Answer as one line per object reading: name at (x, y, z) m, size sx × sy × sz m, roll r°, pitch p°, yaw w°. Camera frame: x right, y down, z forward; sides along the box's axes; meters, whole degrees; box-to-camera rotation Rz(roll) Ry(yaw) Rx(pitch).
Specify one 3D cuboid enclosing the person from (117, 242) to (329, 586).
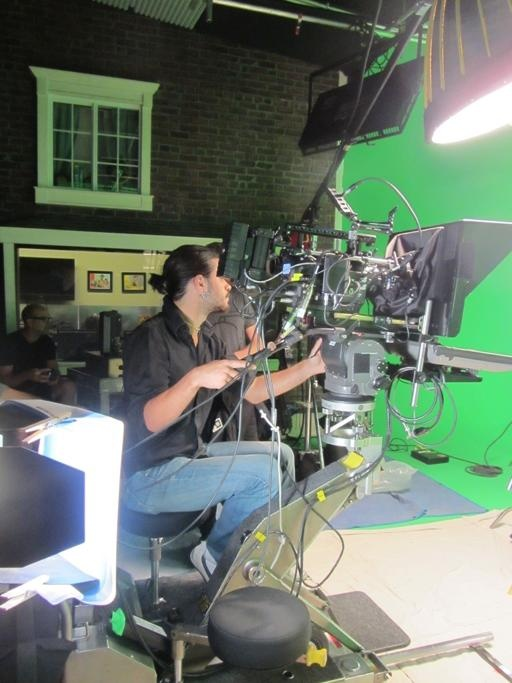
person at (-0.142, 0.291, 2.041) m, size 0.628 × 1.279 × 0.888 m, roll 1°, pitch 4°, yaw -13°

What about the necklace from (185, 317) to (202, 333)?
necklace at (-0.245, -0.059, 2.307) m, size 0.044 × 0.030 × 0.056 m, roll 5°, pitch 9°, yaw -36°
